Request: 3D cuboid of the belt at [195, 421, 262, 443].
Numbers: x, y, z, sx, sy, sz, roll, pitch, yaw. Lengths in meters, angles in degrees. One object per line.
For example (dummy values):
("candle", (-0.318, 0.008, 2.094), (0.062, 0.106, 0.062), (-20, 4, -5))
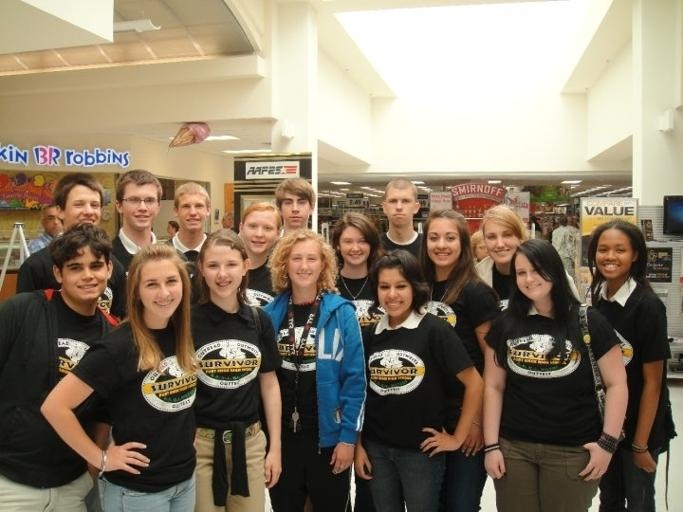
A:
("belt", (-0.662, 1.032, 3.132), (0.381, 0.091, 0.089), (-3, 4, -23))
